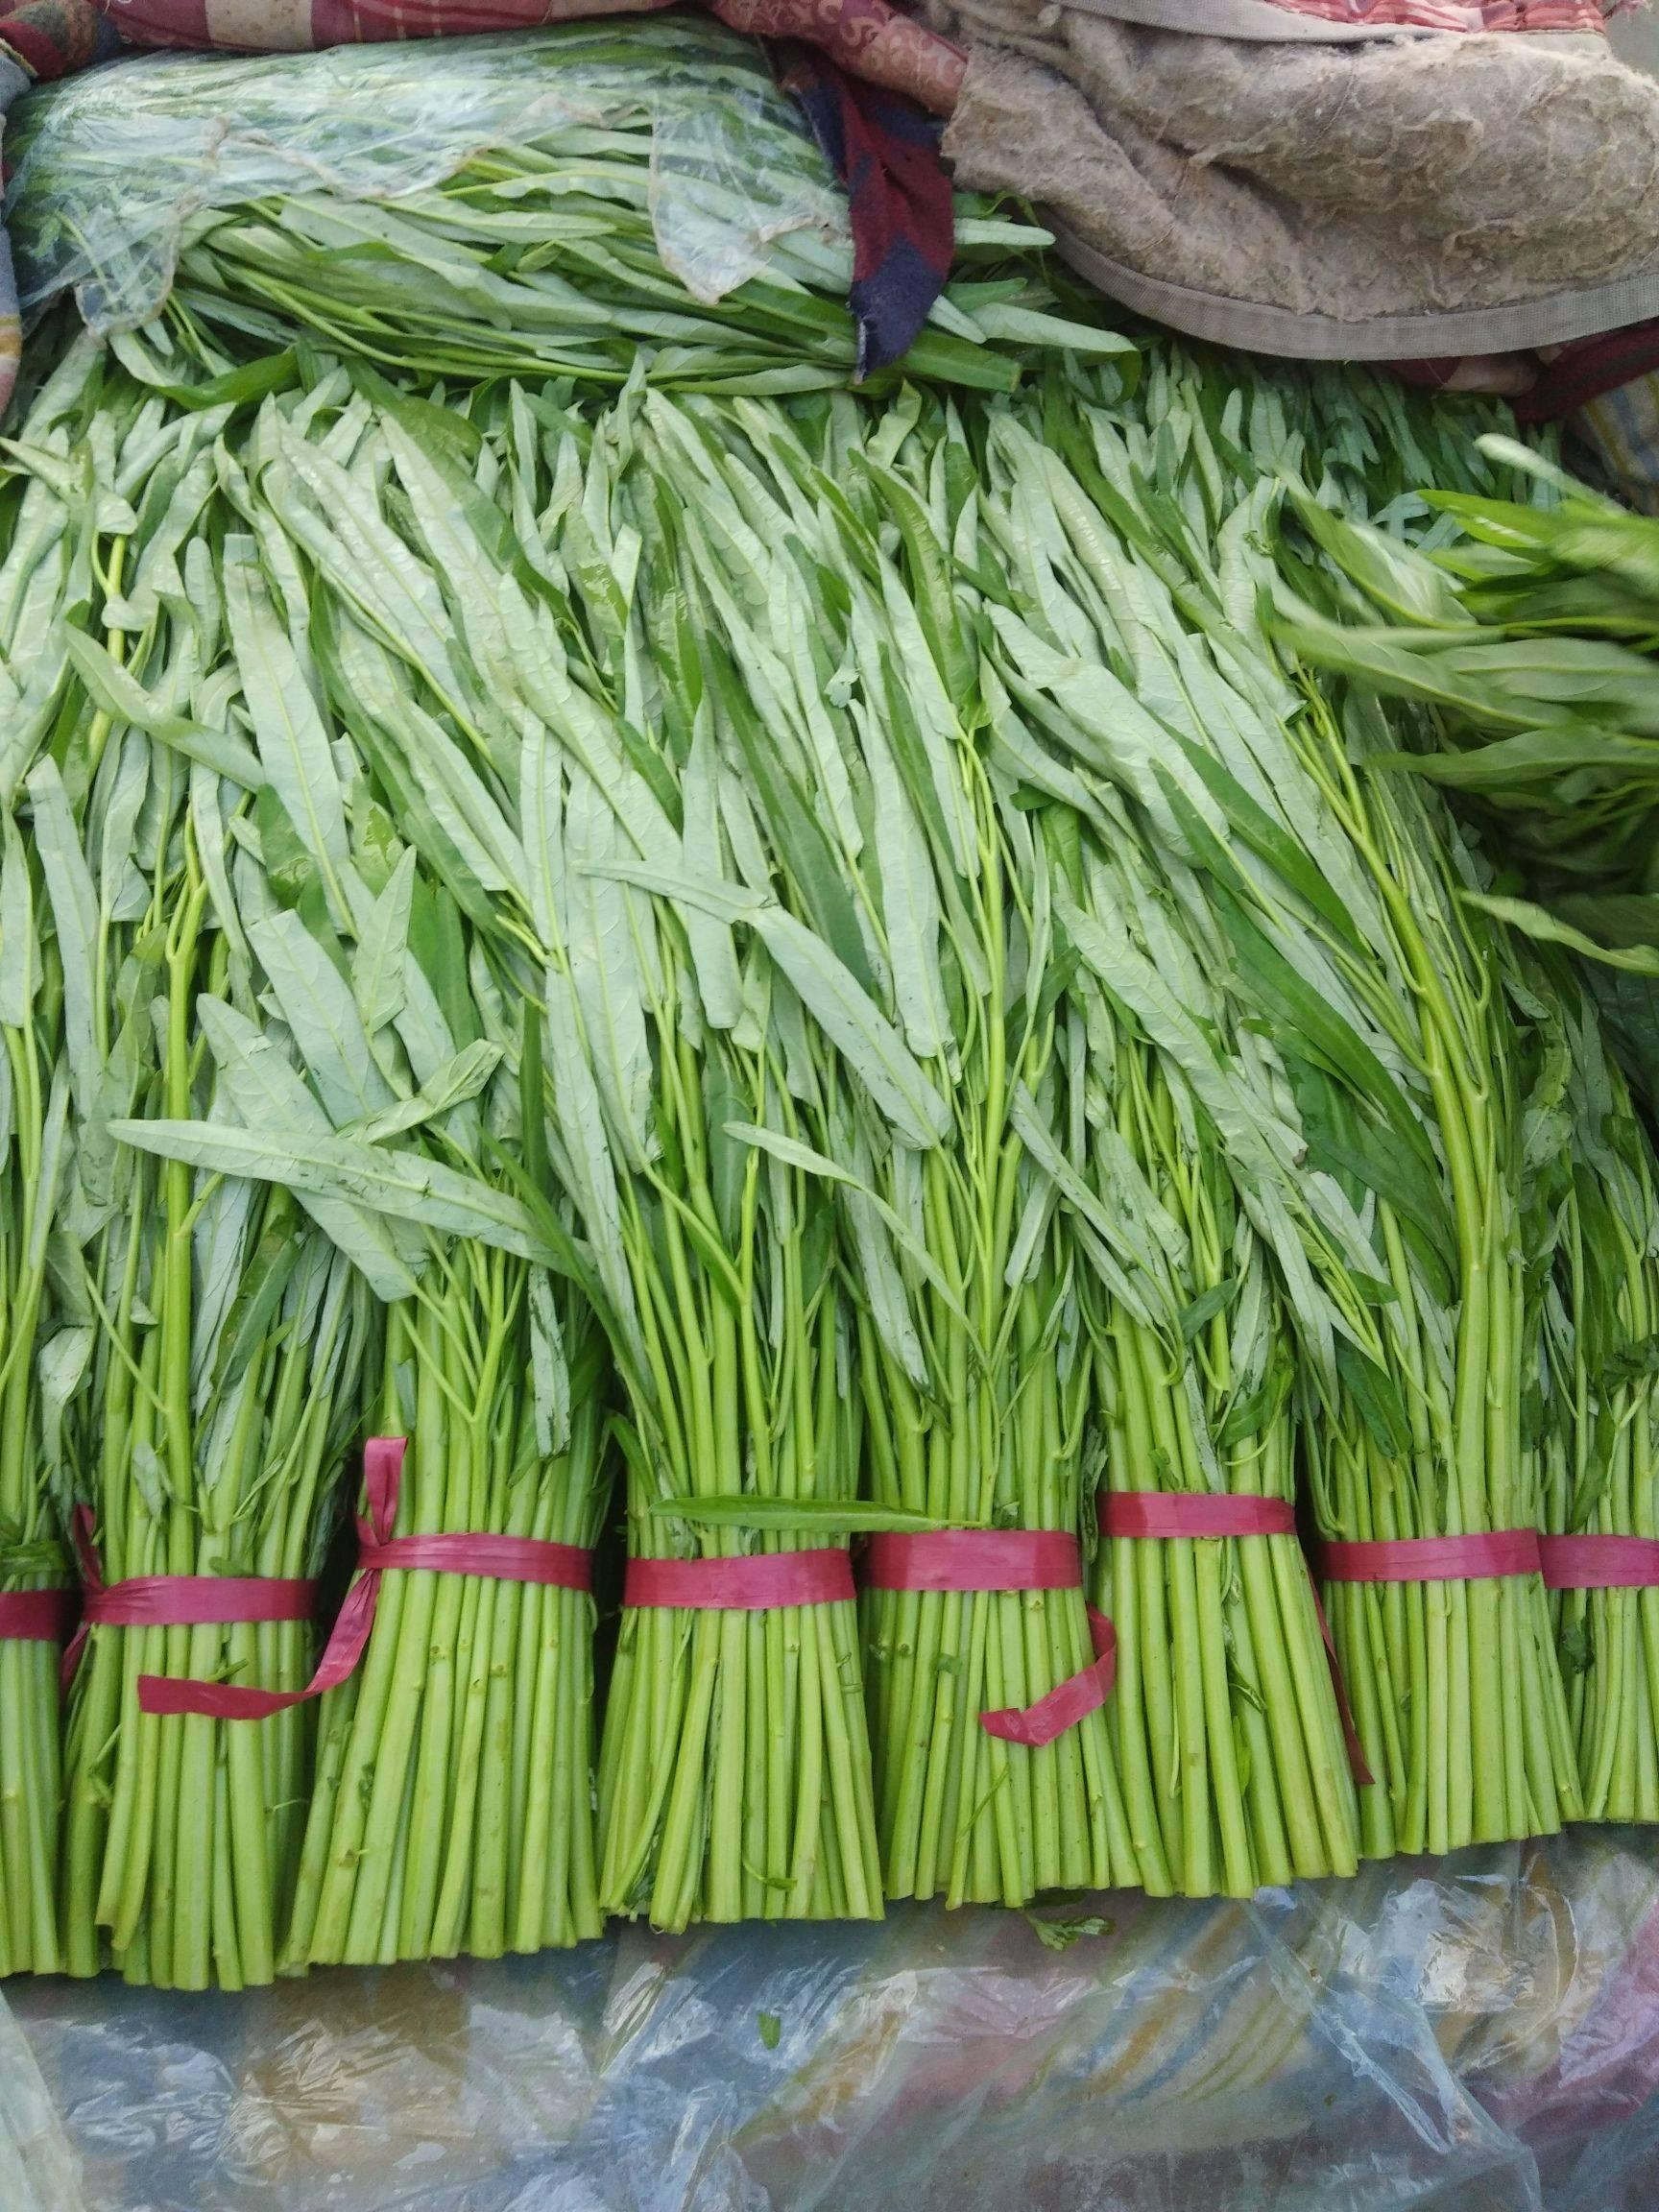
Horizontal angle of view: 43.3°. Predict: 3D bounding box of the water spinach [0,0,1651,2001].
[{"bbox_3d":[0.009,-0.097,1.419,0.733,0.348,1.067,-5,86,-7],"label":"water spinach"}]
